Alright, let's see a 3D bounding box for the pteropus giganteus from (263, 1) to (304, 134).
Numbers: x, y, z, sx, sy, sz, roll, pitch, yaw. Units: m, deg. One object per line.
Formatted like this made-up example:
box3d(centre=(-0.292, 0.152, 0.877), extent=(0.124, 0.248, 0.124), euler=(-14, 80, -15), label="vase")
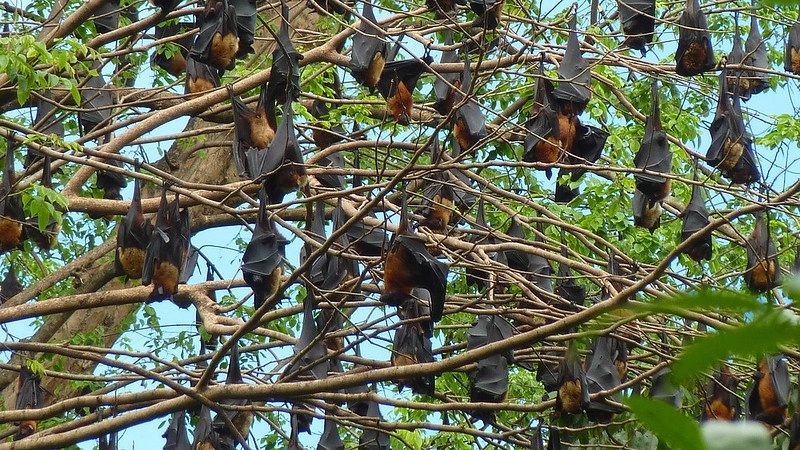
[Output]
box3d(centre=(-1.442, -2.147, 13.073), extent=(0.446, 0.766, 1.751), euler=(-1, -70, -13), label="pteropus giganteus")
